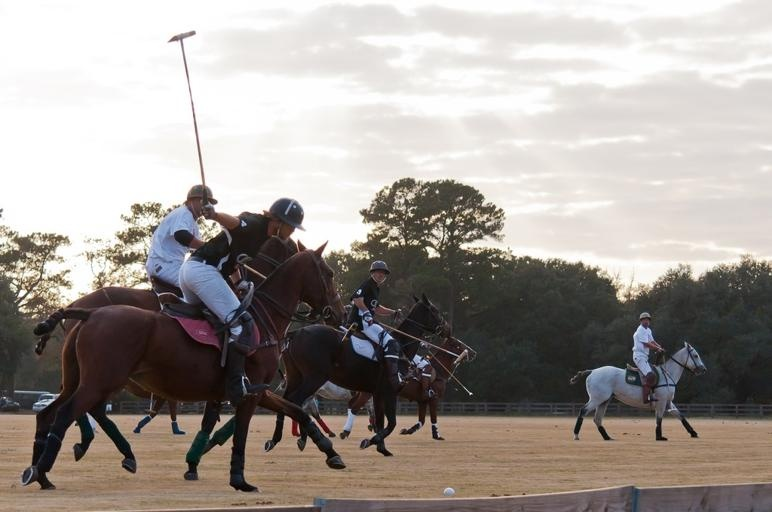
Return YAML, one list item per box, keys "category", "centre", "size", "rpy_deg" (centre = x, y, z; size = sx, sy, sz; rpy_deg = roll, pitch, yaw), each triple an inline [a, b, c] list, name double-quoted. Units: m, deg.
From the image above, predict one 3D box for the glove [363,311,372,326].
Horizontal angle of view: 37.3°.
- category: "glove"
  centre: [-0.477, 1.530, 28.623]
  size: [0.225, 0.284, 0.139]
  rpy_deg: [-13, -14, -11]
